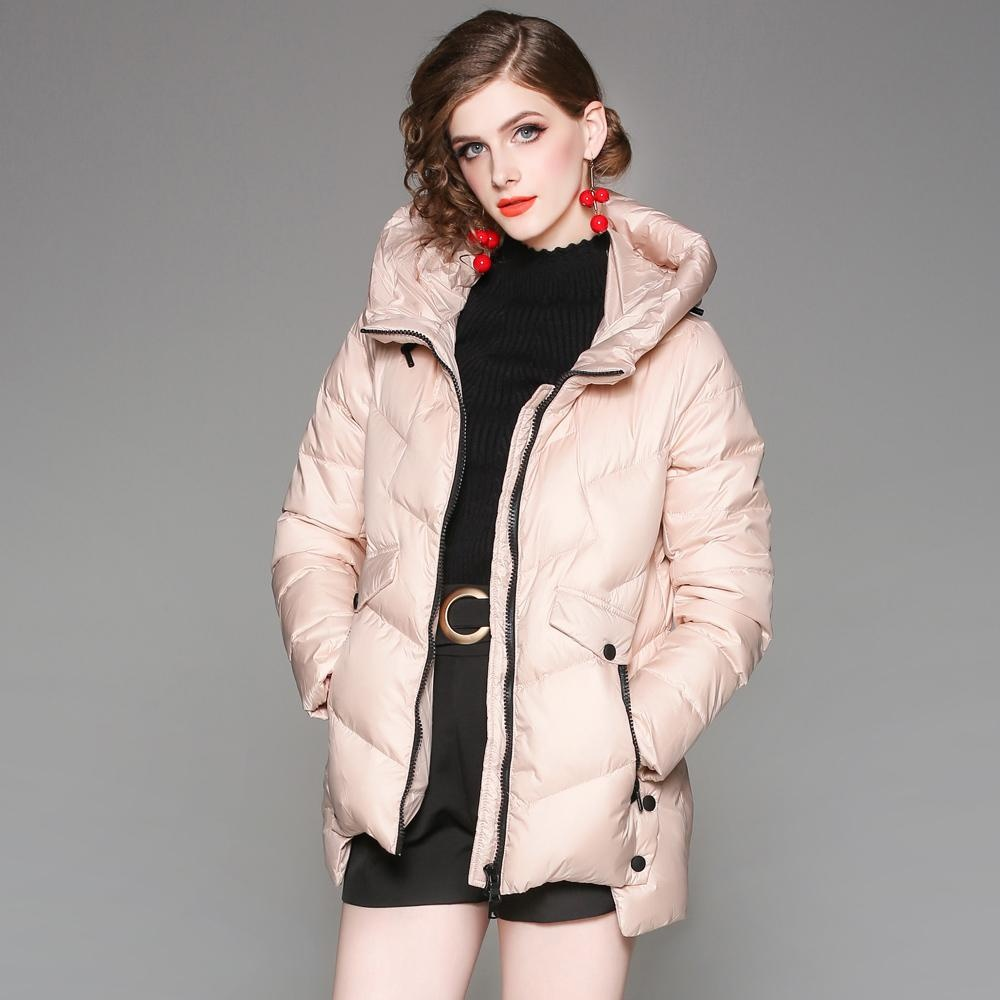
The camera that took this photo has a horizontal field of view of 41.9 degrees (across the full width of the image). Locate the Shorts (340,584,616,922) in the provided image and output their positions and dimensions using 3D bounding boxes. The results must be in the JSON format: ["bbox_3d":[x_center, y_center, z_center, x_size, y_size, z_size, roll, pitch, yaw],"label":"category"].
[{"bbox_3d":[-0.043,0.403,2.028,0.440,0.477,0.203,0,-15,8],"label":"Shorts"}]

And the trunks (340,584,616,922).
[{"bbox_3d":[-0.043,0.403,2.028,0.440,0.477,0.203,0,-15,8],"label":"trunks"}]
